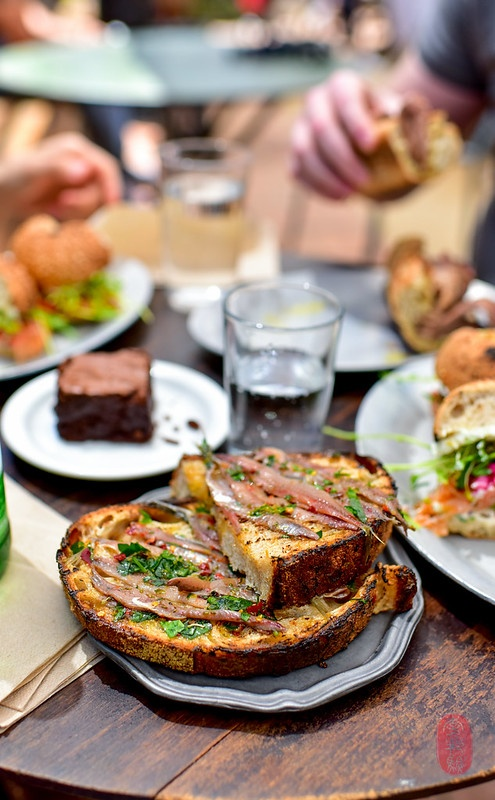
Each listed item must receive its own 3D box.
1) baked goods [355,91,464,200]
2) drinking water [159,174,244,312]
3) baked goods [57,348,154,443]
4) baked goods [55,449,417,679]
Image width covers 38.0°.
[{"bbox_3d":[0.382,-0.576,1.691,0.236,0.089,0.220,-18,41,-13],"label":"baked goods"},{"bbox_3d":[-0.143,-0.487,2.156,0.260,0.382,0.244,-2,16,-18],"label":"drinking water"},{"bbox_3d":[-0.278,-0.001,1.469,0.189,0.117,0.176,0,30,-4],"label":"baked goods"},{"bbox_3d":[-0.017,0.225,0.945,0.361,0.096,0.325,-2,27,-11],"label":"baked goods"}]
